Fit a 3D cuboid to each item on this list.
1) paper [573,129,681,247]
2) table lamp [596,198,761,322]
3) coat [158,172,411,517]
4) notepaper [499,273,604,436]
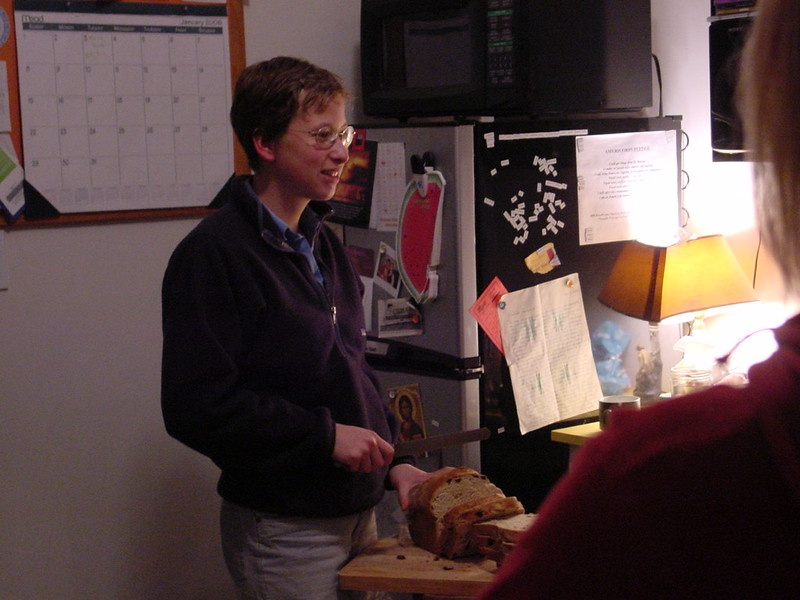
[{"bbox_3d":[0.754,-0.384,2.217,0.400,0.383,0.032,-4,4,-28],"label":"paper"},{"bbox_3d":[0.891,-0.082,2.112,0.446,0.252,0.287,-6,6,16],"label":"table lamp"},{"bbox_3d":[-0.265,0.107,1.412,0.494,0.703,0.286,-13,-1,-19],"label":"coat"},{"bbox_3d":[0.481,0.174,2.143,0.401,0.518,0.072,-19,9,-24],"label":"notepaper"}]
